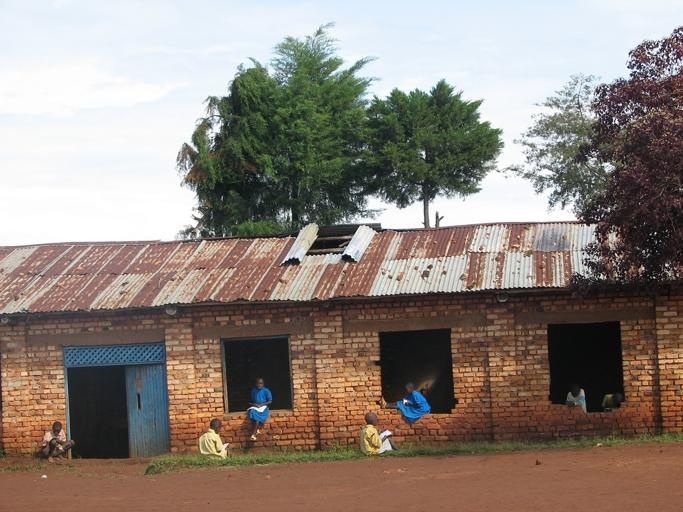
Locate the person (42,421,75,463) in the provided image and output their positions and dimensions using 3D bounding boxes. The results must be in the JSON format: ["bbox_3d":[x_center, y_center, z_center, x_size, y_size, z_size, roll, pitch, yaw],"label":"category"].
[{"bbox_3d":[-7.037,4.547,36.534,0.721,0.925,0.735,6,13,16],"label":"person"}]

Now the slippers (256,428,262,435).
[{"bbox_3d":[-2.018,4.259,36.179,0.067,0.135,0.235,0,-1,42],"label":"slippers"}]

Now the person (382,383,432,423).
[{"bbox_3d":[1.646,3.487,36.248,1.256,1.079,0.625,2,11,25],"label":"person"}]

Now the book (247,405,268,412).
[{"bbox_3d":[-2.039,3.725,36.197,0.440,0.115,0.106,1,-1,-5],"label":"book"}]

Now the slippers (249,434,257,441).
[{"bbox_3d":[-2.163,4.417,36.128,0.170,0.125,0.098,-1,-2,16],"label":"slippers"}]

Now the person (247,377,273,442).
[{"bbox_3d":[-1.988,3.743,36.308,0.606,1.027,0.404,1,-1,-17],"label":"person"}]

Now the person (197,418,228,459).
[{"bbox_3d":[-3.063,4.484,35.805,0.637,1.134,0.745,17,24,37],"label":"person"}]

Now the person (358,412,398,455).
[{"bbox_3d":[0.907,4.253,35.433,0.822,0.635,0.915,0,-1,40],"label":"person"}]
